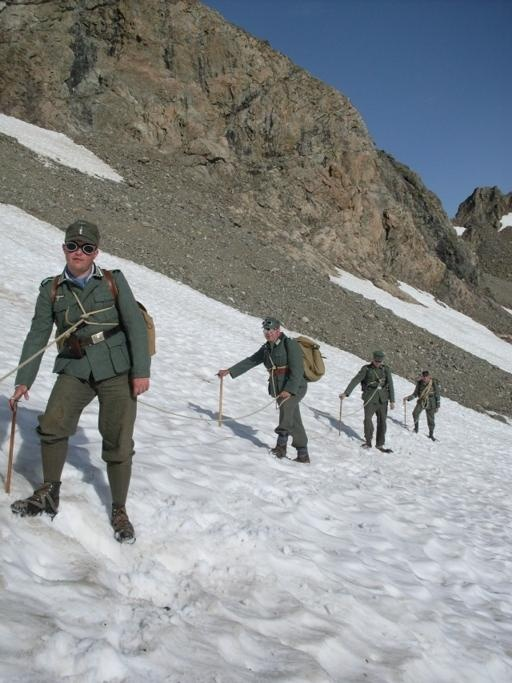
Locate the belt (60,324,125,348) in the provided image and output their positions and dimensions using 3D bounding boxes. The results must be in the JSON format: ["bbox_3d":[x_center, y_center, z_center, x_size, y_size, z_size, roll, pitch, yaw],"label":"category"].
[{"bbox_3d":[-1.397,-0.048,7.218,0.340,0.068,0.228,-19,5,-18],"label":"belt"}]

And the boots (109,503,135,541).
[{"bbox_3d":[-1.177,1.590,7.275,0.151,0.149,0.389,-12,22,-31],"label":"boots"}]

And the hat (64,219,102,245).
[{"bbox_3d":[-1.492,-0.936,7.153,0.271,0.209,0.311,6,5,-7],"label":"hat"}]

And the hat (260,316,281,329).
[{"bbox_3d":[0.213,-0.238,11.072,0.158,0.097,0.202,-2,-8,29],"label":"hat"}]

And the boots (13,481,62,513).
[{"bbox_3d":[-1.844,1.349,7.028,0.440,0.273,0.136,2,9,-42],"label":"boots"}]

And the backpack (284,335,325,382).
[{"bbox_3d":[0.708,0.259,11.291,0.485,0.588,0.381,8,6,2],"label":"backpack"}]

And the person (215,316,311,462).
[{"bbox_3d":[0.295,0.666,11.291,1.238,1.964,0.850,9,6,4],"label":"person"}]

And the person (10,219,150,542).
[{"bbox_3d":[-1.492,0.341,7.227,1.183,2.740,0.662,8,6,-13],"label":"person"}]
